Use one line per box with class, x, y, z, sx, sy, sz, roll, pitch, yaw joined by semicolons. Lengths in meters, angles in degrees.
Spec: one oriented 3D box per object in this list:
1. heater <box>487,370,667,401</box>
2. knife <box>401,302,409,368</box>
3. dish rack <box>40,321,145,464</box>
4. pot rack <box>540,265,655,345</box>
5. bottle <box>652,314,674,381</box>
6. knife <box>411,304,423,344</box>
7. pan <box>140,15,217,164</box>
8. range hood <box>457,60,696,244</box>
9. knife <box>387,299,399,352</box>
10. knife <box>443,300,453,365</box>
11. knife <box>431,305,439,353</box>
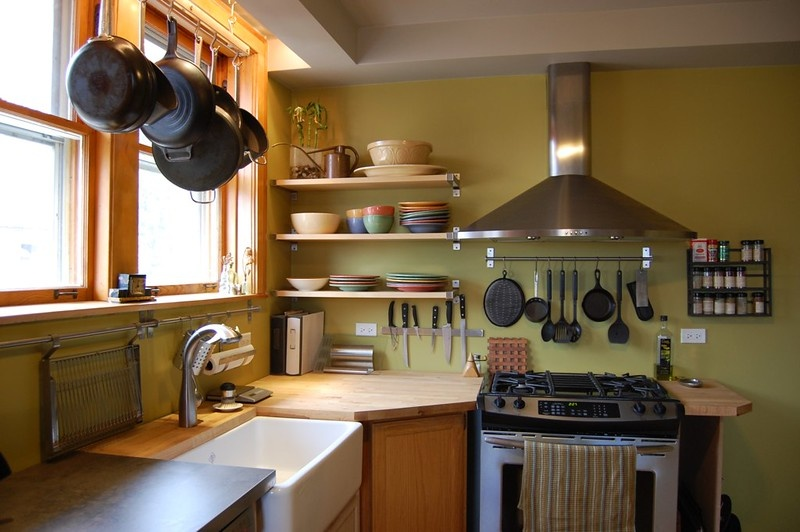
heater;1.030;0.695;3.600;1.034;0.077;0.518;0;0;5
knife;0.033;0.463;4.051;0.049;0.437;0.029;-1;0;13
dish rack;-1.455;0.595;2.817;0.071;0.526;0.457;1;1;34
pot rack;1.273;0.257;3.867;0.689;0.484;0.150;0;1;-3
bottle;1.687;0.513;3.802;0.112;0.409;0.080;1;1;13
knife;0.097;0.382;4.018;0.048;0.249;0.030;-5;-5;8
pan;-0.938;-0.771;2.613;0.186;0.509;0.438;3;5;-15
range hood;1.020;-0.717;3.544;1.200;1.104;0.524;1;1;6
knife;-0.052;0.422;4.062;0.071;0.310;0.033;0;-1;9
knife;0.309;0.439;3.980;0.059;0.421;0.034;-1;-3;5
knife;0.234;0.423;3.990;0.046;0.277;0.028;2;4;10
